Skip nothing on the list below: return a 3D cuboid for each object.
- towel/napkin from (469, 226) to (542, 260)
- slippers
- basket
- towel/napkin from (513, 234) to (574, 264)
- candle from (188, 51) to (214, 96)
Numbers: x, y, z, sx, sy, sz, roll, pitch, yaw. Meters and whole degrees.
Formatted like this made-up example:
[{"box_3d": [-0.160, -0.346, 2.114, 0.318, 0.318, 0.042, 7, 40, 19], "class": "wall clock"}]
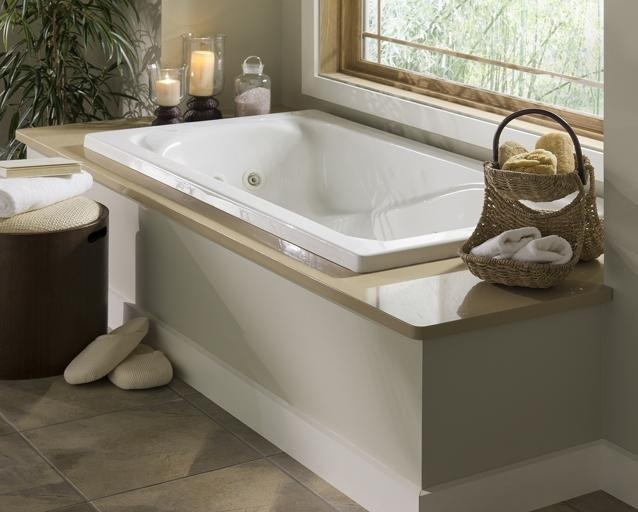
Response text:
[{"box_3d": [0.397, -0.044, 1.169, 0.087, 0.029, 0.084, -26, 17, -34], "class": "towel/napkin"}, {"box_3d": [-0.646, 0.334, 1.812, 0.272, 0.101, 0.255, 3, 27, 12], "class": "slippers"}, {"box_3d": [0.414, -0.117, 1.297, 0.252, 0.324, 0.337, 14, 26, 36], "class": "basket"}, {"box_3d": [0.465, -0.010, 1.131, 0.082, 0.032, 0.078, -13, 14, -32], "class": "towel/napkin"}, {"box_3d": [-0.560, -0.866, 2.642, 0.122, 0.214, 0.061, 2, 13, 2], "class": "candle"}]
